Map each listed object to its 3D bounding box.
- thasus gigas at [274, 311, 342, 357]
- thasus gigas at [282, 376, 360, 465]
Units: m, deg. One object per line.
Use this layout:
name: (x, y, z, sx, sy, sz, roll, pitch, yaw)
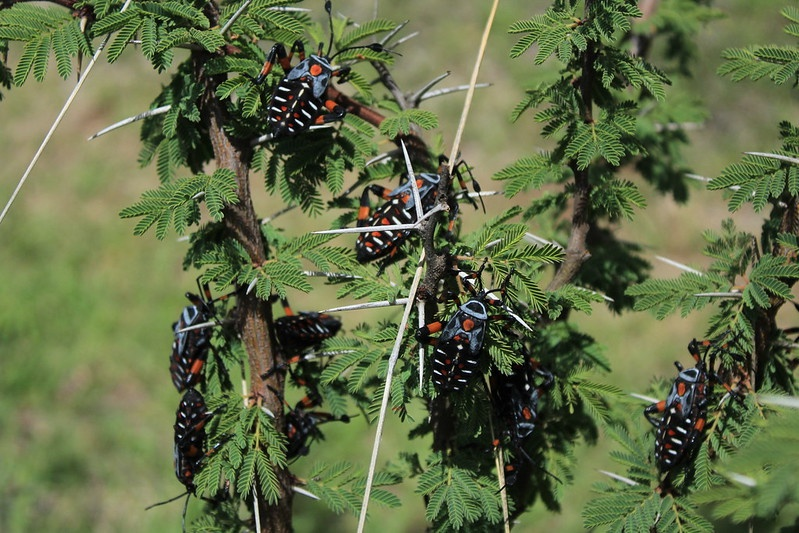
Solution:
thasus gigas: (-1.086, 0.746, 12.691, 0.602, 0.497, 0.279, -9, -8, -13)
thasus gigas: (-1.070, 1.795, 12.848, 0.692, 0.789, 0.570, 7, -24, -24)
